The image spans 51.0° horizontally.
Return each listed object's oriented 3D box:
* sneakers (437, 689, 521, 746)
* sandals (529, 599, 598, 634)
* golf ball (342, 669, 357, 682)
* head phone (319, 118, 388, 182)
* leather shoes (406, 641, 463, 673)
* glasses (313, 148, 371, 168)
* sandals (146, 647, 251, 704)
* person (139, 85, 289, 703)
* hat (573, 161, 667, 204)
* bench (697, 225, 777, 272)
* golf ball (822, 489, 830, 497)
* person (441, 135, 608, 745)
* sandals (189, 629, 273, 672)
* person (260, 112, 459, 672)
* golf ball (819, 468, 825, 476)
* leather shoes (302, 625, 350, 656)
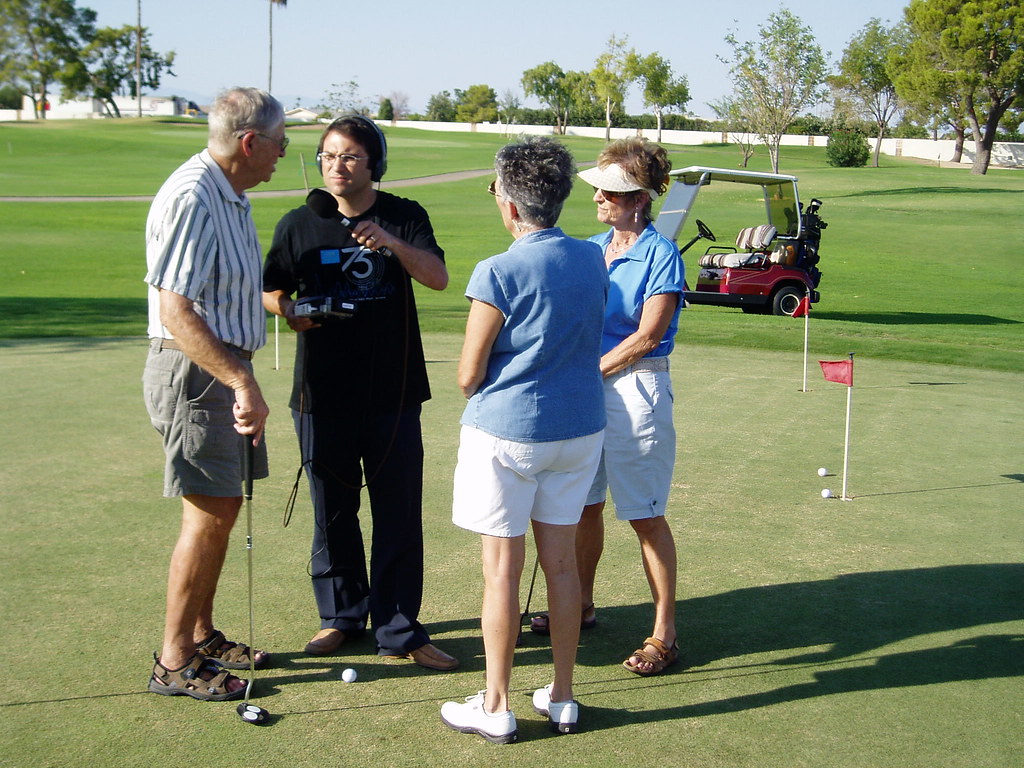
[{"bbox_3d":[-0.163,1.443,4.689,0.376,0.157,0.133,7,7,32],"label":"sneakers"},{"bbox_3d":[0.233,1.204,5.484,0.195,0.137,0.379,-1,-6,14],"label":"sandals"},{"bbox_3d":[-0.755,1.354,5.004,0.076,0.048,0.108,-1,11,-10],"label":"golf ball"},{"bbox_3d":[-0.782,-1.154,5.264,0.355,0.294,0.129,-3,9,5],"label":"head phone"},{"bbox_3d":[-0.373,1.307,5.151,0.271,0.093,0.097,3,5,38],"label":"leather shoes"},{"bbox_3d":[-0.840,-1.091,5.183,0.256,0.068,0.107,6,12,25],"label":"glasses"},{"bbox_3d":[-1.436,1.324,4.883,0.437,0.173,0.199,7,9,-4],"label":"sandals"},{"bbox_3d":[-1.371,0.015,4.953,0.659,2.712,0.879,-1,12,-9],"label":"person"},{"bbox_3d":[0.520,-1.011,5.308,0.253,0.173,0.303,21,17,38],"label":"hat"},{"bbox_3d":[3.779,-2.210,17.685,1.123,0.608,1.095,-4,10,-15],"label":"bench"},{"bbox_3d":[2.106,0.734,7.168,0.036,0.047,0.049,13,-3,-10],"label":"golf ball"},{"bbox_3d":[0.067,0.218,4.710,0.681,2.560,0.793,2,12,4],"label":"person"},{"bbox_3d":[-1.326,1.259,5.039,0.375,0.133,0.138,3,8,18],"label":"sandals"},{"bbox_3d":[-0.797,0.007,5.386,1.138,2.650,0.868,-2,-2,13],"label":"person"},{"bbox_3d":[2.211,0.623,7.588,0.053,0.046,0.087,1,-3,21],"label":"golf ball"},{"bbox_3d":[-0.913,1.263,5.269,0.132,0.097,0.256,5,11,18],"label":"leather shoes"}]
